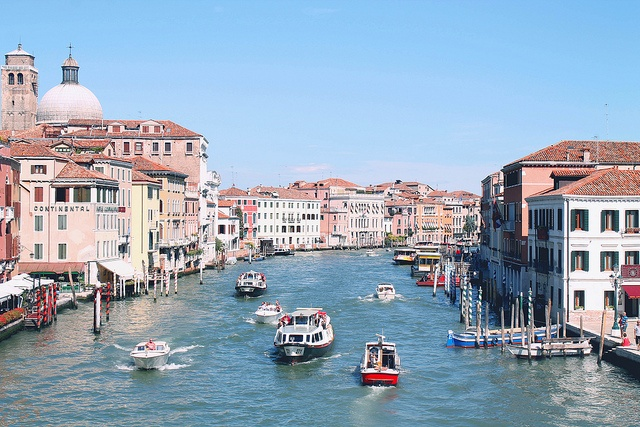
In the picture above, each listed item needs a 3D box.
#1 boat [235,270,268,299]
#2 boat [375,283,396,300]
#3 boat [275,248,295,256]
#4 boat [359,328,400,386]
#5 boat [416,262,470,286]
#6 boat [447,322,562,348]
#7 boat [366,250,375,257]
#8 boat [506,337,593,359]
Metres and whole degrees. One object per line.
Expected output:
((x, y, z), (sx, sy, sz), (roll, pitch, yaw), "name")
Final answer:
((-9.257, 9.704, 143.385), (3.169, 3.150, 9.257), (0, -3, 2), "boat")
((8.596, 10.260, 139.312), (2.177, 1.750, 2.213), (0, -2, -2), "boat")
((-7.417, 8.138, 224.161), (3.889, 1.436, 6.966), (0, -2, 2), "boat")
((5.944, 14.502, 106.267), (4.844, 5.544, 12.849), (0, -2, 1), "boat")
((19.442, 9.206, 157.883), (11.159, 3.804, 3.119), (0, -4, 4), "boat")
((19.700, 12.856, 112.286), (14.471, 2.297, 3.155), (0, -1, -11), "boat")
((10.719, 8.459, 225.532), (0.791, 0.977, 3.196), (-1, -7, 9), "boat")
((23.593, 13.841, 110.449), (7.906, 2.098, 5.163), (0, -4, 1), "boat")
